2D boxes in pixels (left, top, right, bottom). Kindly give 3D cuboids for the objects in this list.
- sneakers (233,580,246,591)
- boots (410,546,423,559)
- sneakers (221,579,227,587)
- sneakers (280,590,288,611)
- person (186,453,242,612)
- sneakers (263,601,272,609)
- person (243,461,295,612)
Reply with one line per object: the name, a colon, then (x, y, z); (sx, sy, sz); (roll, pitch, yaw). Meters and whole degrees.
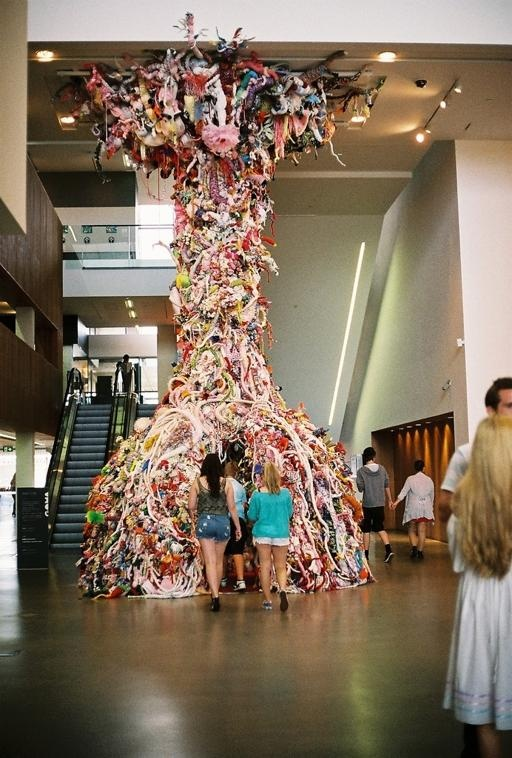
sneakers: (-0.150, 1.973, 5.324); (0.063, 0.112, 0.163); (3, -7, -19)
boots: (2.197, 2.419, 7.777); (0.104, 0.200, 0.286); (1, -3, 9)
sneakers: (-0.320, 2.058, 5.636); (0.038, 0.049, 0.114); (3, -6, 2)
sneakers: (0.209, 1.694, 4.205); (0.061, 0.167, 0.065); (-5, 3, 3)
person: (-0.333, 1.233, 4.521); (0.388, 1.209, 0.456); (0, -14, -2)
sneakers: (0.091, 1.807, 4.447); (0.071, 0.053, 0.138); (-1, -14, 0)
person: (0.135, 1.273, 4.595); (0.326, 1.149, 0.390); (-4, -15, 11)
